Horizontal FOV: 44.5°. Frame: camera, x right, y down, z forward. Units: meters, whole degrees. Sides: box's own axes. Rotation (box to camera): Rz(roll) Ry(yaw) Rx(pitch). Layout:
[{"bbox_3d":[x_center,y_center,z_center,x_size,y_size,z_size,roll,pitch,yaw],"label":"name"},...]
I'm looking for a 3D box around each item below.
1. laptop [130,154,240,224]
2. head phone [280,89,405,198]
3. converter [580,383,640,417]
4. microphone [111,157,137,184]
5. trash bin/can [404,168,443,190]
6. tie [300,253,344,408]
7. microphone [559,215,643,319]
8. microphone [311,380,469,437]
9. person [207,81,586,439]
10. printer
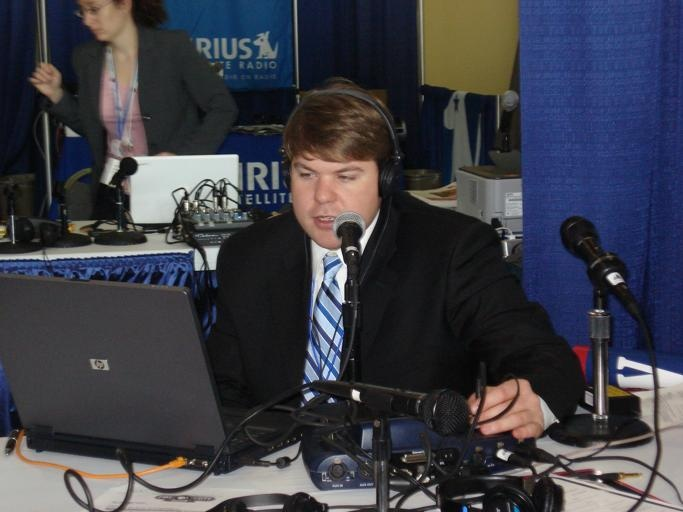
[{"bbox_3d":[-0.727,-0.317,3.700,0.438,0.279,0.302,-1,10,-10],"label":"laptop"},{"bbox_3d":[0.010,-0.285,2.103,0.256,0.222,0.247,1,10,14],"label":"head phone"},{"bbox_3d":[0.641,0.345,1.978,0.076,0.026,0.112,-1,4,-25],"label":"converter"},{"bbox_3d":[-0.883,-0.344,3.361,0.128,0.108,0.104,-3,11,2],"label":"microphone"},{"bbox_3d":[0.491,-0.469,5.100,0.166,0.105,0.164,-2,4,-21],"label":"trash bin/can"},{"bbox_3d":[-0.045,0.185,2.059,0.110,0.351,0.100,7,19,-5],"label":"tie"},{"bbox_3d":[0.554,0.006,1.805,0.083,0.091,0.348,-32,36,3],"label":"microphone"},{"bbox_3d":[0.093,0.281,1.602,0.310,0.090,0.112,3,13,32],"label":"microphone"},{"bbox_3d":[0.093,0.095,2.012,0.523,1.047,0.599,-2,10,-6],"label":"person"},{"bbox_3d":[0.551,-0.173,3.054,0.209,0.285,0.379,-2,9,-10],"label":"printer"}]
